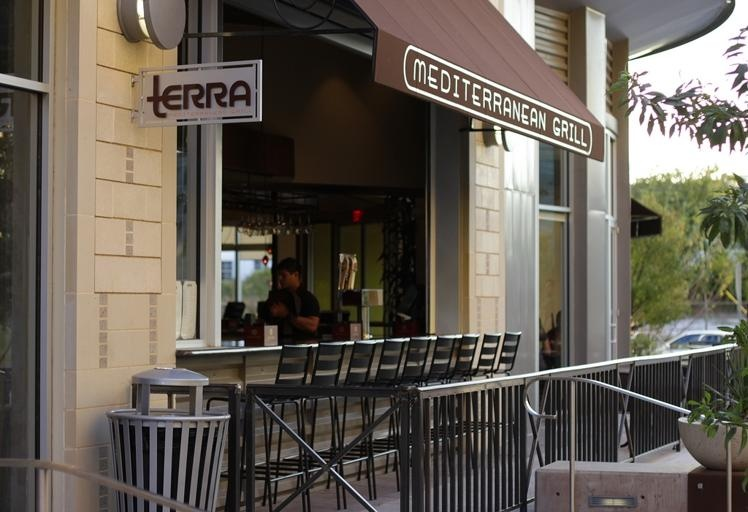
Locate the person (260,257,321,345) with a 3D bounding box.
[{"bbox_3d":[-0.956,0.706,11.564,0.675,1.311,0.586,6,-1,14],"label":"person"}]
